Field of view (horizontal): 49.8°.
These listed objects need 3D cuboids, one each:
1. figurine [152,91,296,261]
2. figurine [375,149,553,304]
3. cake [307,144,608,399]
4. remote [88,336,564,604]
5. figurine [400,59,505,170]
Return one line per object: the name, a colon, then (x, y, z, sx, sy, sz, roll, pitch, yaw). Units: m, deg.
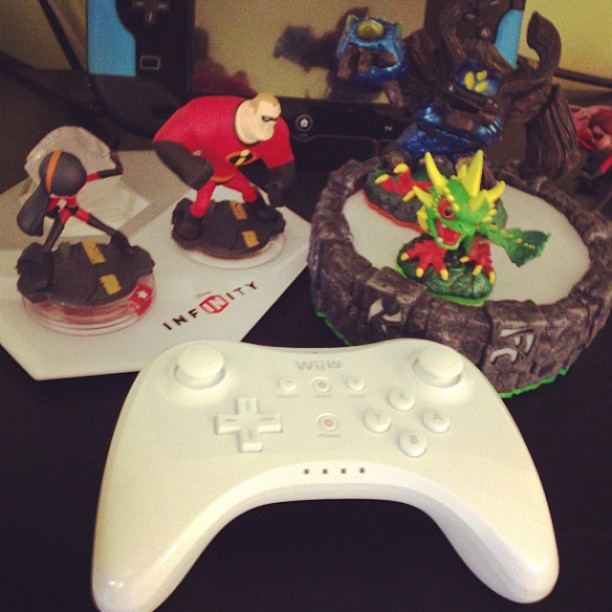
figurine: (-0.092, -0.137, 0.692, 0.146, 0.149, 0.100, -24, 72, -36)
figurine: (0.139, -0.077, 0.673, 0.166, 0.144, 0.102, -4, 41, -12)
cake: (0.140, -0.052, 0.754, 0.361, 0.254, 0.222, -3, 40, -8)
remote: (0.011, 0.116, 0.496, 0.317, 0.098, 0.205, -3, 44, -6)
figurine: (0.167, -0.224, 0.806, 0.126, 0.125, 0.070, -2, 37, -10)
